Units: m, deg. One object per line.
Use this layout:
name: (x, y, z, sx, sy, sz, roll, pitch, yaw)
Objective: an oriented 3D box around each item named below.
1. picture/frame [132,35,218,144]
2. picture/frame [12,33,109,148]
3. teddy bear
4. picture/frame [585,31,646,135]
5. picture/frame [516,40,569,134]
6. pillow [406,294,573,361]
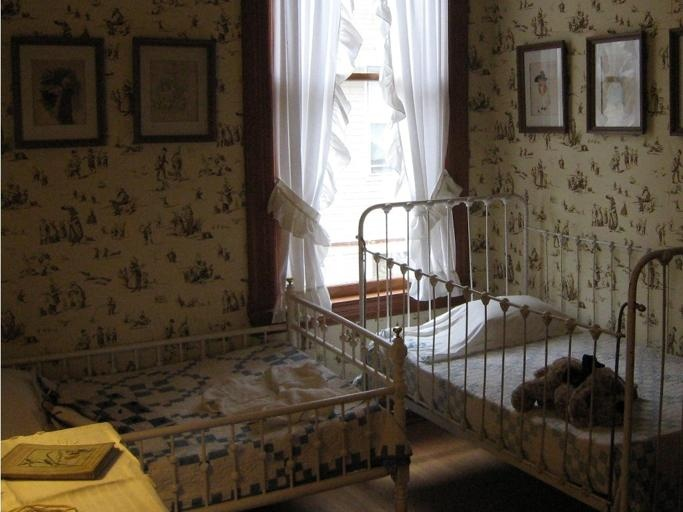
picture/frame: (-0.965, -0.961, 3.481, 0.579, 0.739, 0.051, -2, 8, -21)
picture/frame: (-1.516, -0.889, 3.258, 0.565, 0.717, 0.047, -4, 8, -25)
teddy bear: (0.961, 0.519, 2.614, 0.402, 0.190, 0.324, -2, 2, 29)
picture/frame: (1.578, -0.983, 3.517, 0.052, 0.562, 0.387, -7, 10, -29)
picture/frame: (1.303, -1.080, 3.964, 0.101, 0.571, 0.402, -6, 9, -22)
pillow: (0.839, 0.407, 3.463, 0.719, 0.188, 0.446, -8, 3, -19)
